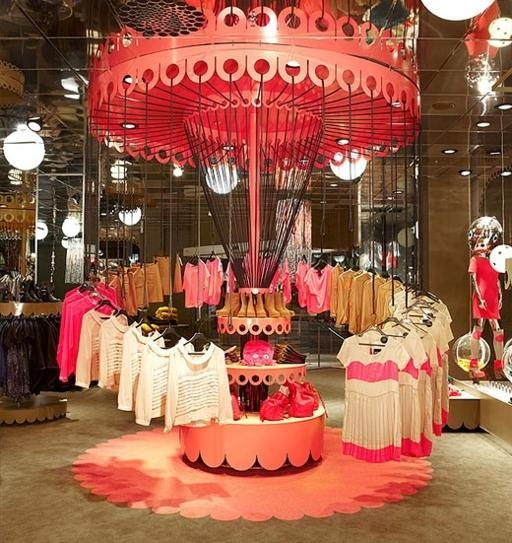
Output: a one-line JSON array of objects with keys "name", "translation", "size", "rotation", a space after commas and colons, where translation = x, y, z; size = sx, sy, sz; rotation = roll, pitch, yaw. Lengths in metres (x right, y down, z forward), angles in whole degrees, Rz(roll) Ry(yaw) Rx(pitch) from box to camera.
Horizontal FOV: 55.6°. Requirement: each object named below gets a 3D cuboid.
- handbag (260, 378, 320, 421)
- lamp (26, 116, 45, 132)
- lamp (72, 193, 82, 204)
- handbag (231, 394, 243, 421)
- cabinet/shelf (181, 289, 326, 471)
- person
[{"name": "handbag", "translation": [0.279, 1.042, 3.823], "size": [0.249, 0.197, 0.371], "rotation": [-7, -3, 37]}, {"name": "lamp", "translation": [-2.606, -1.727, 5.665], "size": [0.111, 0.145, 0.159], "rotation": [-8, -45, -21]}, {"name": "lamp", "translation": [-2.752, -1.119, 7.348], "size": [0.107, 0.158, 0.106], "rotation": [0, 3, 39]}, {"name": "handbag", "translation": [-0.154, 1.061, 3.823], "size": [0.052, 0.148, 0.186], "rotation": [-2, 0, 7]}, {"name": "cabinet/shelf", "translation": [0.029, 0.864, 3.919], "size": [1.164, 1.441, 0.653], "rotation": [1, -4, -18]}, {"name": "person", "translation": [2.374, 0.432, 5.001], "size": [0.330, 1.454, 0.809], "rotation": [-2, -5, 28]}]
